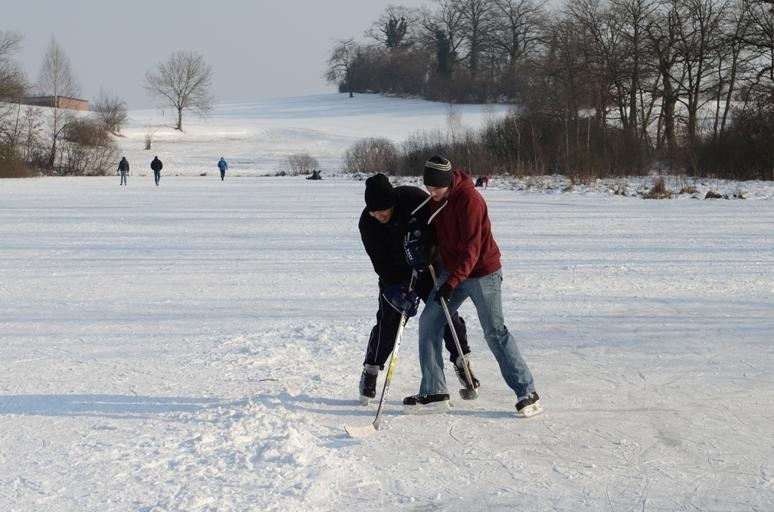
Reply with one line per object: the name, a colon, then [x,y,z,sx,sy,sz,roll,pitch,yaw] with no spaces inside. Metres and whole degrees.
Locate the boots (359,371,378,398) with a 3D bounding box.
boots: [-0.371,2.278,17.478,0.207,0.550,0.265,-1,-6,-13]

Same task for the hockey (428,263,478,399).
hockey: [1.067,1.330,17.386,0.425,2.383,0.463,-20,-2,-39]

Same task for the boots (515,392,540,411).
boots: [2.387,2.521,17.193,0.211,0.207,0.492,3,13,42]

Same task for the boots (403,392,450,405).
boots: [0.612,2.486,17.351,0.811,0.283,0.260,3,-7,-3]
